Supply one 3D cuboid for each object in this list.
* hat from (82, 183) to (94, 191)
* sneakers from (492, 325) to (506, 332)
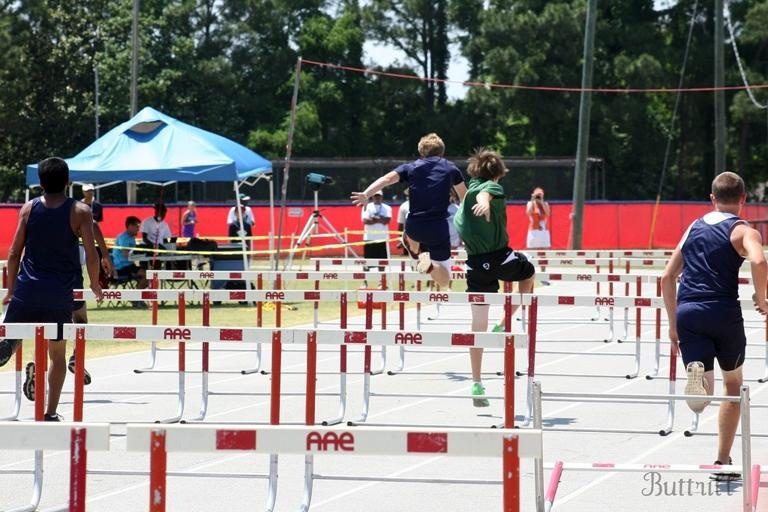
[{"bbox_3d":[-7.908,-1.815,40.124,0.312,0.145,0.452,-2,1,-21],"label":"hat"},{"bbox_3d":[2.581,1.666,34.207,0.226,0.156,0.275,-11,-17,-23],"label":"sneakers"}]
